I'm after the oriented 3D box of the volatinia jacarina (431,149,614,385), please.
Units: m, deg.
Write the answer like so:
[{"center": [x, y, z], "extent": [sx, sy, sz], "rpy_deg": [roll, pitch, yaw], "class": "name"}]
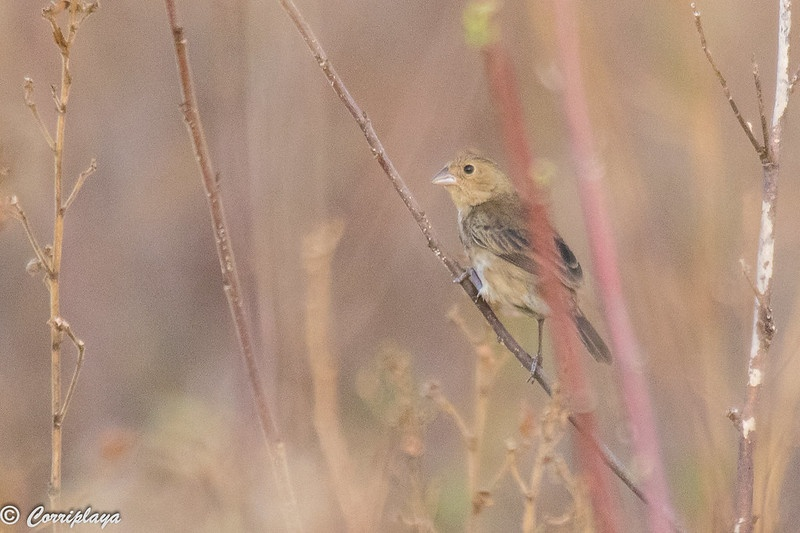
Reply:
[{"center": [0.375, -0.014, 3.091], "extent": [0.605, 0.456, 0.229], "rpy_deg": [22, 13, 22], "class": "volatinia jacarina"}]
